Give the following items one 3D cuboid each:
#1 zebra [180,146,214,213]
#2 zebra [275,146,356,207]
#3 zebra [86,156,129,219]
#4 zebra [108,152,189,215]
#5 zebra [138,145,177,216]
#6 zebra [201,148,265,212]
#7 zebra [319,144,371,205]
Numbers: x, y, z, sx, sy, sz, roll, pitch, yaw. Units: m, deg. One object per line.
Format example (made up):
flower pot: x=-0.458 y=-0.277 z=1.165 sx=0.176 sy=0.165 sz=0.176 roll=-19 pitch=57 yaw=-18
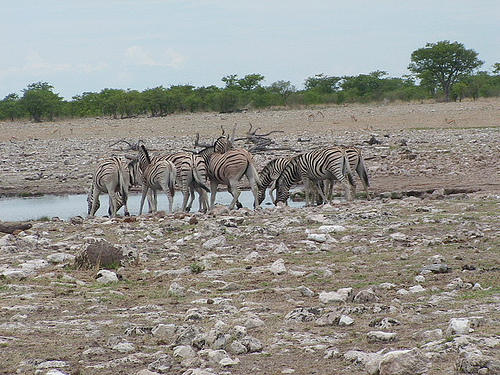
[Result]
zebra: x=-1.284 y=-0.137 z=21.481 sx=0.739 sy=1.334 sz=1.894 roll=-3 pitch=2 yaw=-3
zebra: x=1.517 y=-0.194 z=21.641 sx=2.462 sy=1.203 sz=0.696 roll=-11 pitch=-6 yaw=43
zebra: x=-3.355 y=0.094 z=21.828 sx=0.791 sy=1.261 sz=2.582 roll=2 pitch=-8 yaw=-27
zebra: x=-2.583 y=-0.129 z=22.926 sx=0.719 sy=1.467 sz=2.449 roll=7 pitch=2 yaw=24
zebra: x=-2.260 y=-0.173 z=21.545 sx=0.599 sy=1.480 sz=2.128 roll=2 pitch=4 yaw=-35
zebra: x=-0.598 y=-0.282 z=22.063 sx=0.907 sy=1.656 sz=2.832 roll=0 pitch=-4 yaw=-31
zebra: x=1.962 y=-0.375 z=22.152 sx=0.628 sy=1.451 sz=2.385 roll=-14 pitch=5 yaw=-22
